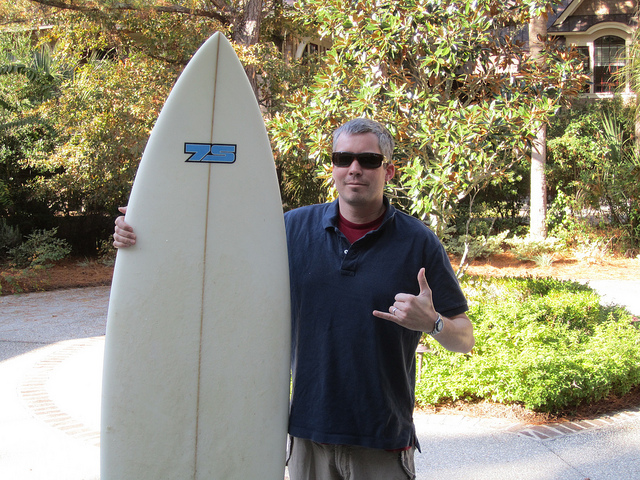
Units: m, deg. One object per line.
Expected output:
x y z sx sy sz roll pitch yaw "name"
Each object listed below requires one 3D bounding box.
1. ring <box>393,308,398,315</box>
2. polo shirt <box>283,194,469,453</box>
0.396 0.378 3.264 0.008 0.036 0.033 6 -5 -19 "ring"
0.277 0.458 3.505 0.925 1.419 0.366 1 1 0 "polo shirt"
